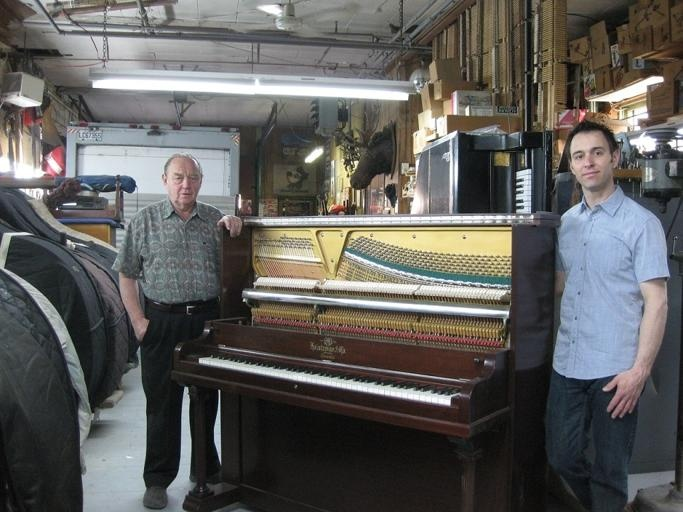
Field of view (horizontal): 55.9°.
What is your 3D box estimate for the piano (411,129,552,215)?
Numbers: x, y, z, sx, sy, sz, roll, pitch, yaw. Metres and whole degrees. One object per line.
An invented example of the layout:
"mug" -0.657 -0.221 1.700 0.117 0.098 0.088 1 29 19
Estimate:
"piano" 0.862 -0.500 3.895 0.312 0.610 0.602 -6 10 -35
